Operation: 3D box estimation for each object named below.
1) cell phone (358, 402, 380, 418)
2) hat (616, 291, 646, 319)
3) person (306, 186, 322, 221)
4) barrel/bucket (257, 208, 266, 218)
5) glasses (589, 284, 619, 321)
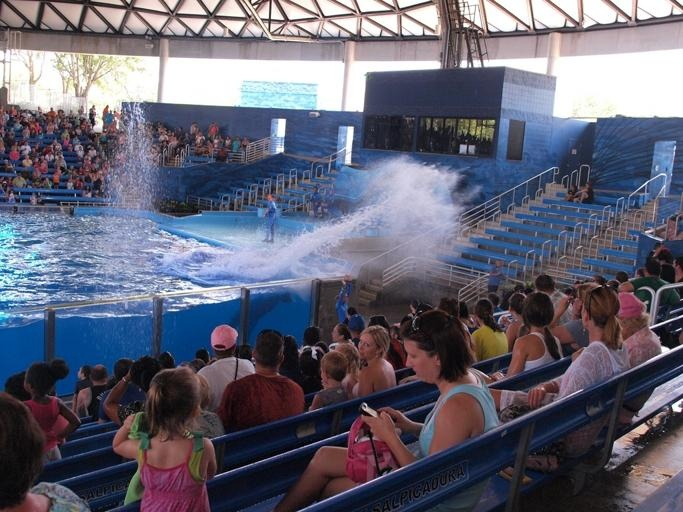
[{"bbox_3d":[0.145,0.803,2.719,0.097,0.078,0.079,3,9,18],"label":"cell phone"},{"bbox_3d":[2.325,0.387,4.165,0.227,0.192,0.357,0,19,37],"label":"hat"},{"bbox_3d":[-1.343,-2.659,25.338,0.652,1.299,2.419,0,8,-4],"label":"person"},{"bbox_3d":[-3.983,-2.064,25.481,0.499,0.511,0.270,-2,14,-11],"label":"barrel/bucket"},{"bbox_3d":[1.785,0.321,3.551,0.066,0.231,0.214,5,0,40],"label":"glasses"}]
